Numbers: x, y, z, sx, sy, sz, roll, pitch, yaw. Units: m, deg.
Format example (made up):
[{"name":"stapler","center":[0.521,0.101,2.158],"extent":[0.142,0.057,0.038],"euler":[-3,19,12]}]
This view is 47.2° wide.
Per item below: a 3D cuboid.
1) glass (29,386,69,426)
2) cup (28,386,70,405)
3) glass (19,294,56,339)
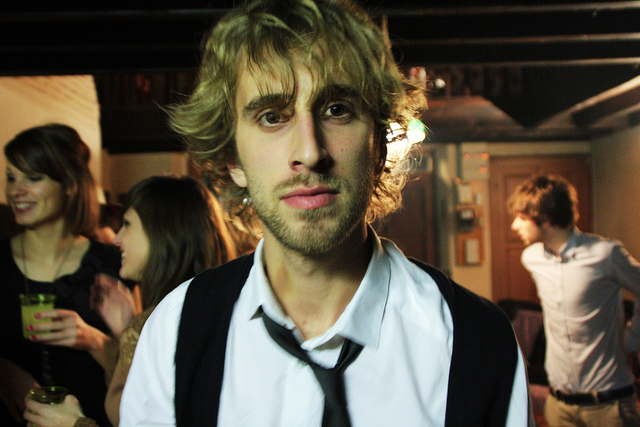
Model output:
[{"name":"glass","center":[-1.695,1.210,4.698],"extent":[0.228,0.208,0.258],"euler":[7,5,23]},{"name":"cup","center":[-1.742,1.186,4.702],"extent":[0.227,0.119,0.207],"euler":[-3,0,0]},{"name":"glass","center":[-1.813,0.695,4.747],"extent":[0.227,0.349,0.261],"euler":[-2,1,-3]}]
